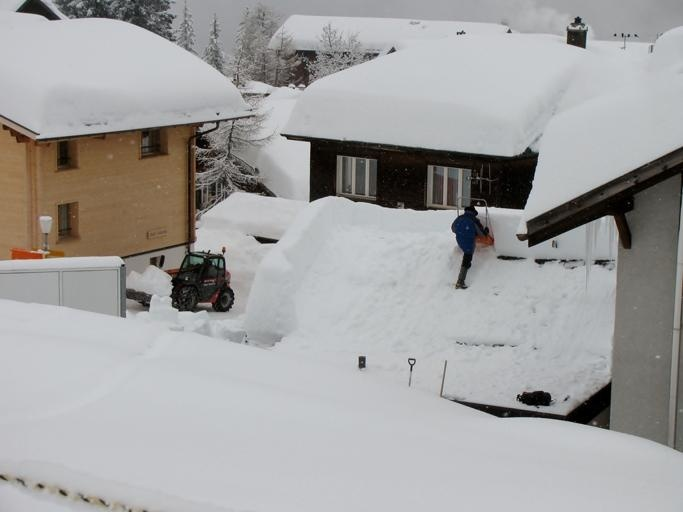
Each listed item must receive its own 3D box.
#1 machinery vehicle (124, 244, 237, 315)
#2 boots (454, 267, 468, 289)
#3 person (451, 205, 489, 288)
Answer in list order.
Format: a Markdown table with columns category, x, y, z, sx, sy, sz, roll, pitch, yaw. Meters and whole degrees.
| category | x | y | z | sx | sy | sz | roll | pitch | yaw |
| --- | --- | --- | --- | --- | --- | --- | --- | --- | --- |
| machinery vehicle | -4.312 | 0.620 | 26.323 | 1.417 | 1.778 | 2.616 | 7 | 4 | 42 |
| boots | 2.351 | 0.423 | 18.998 | 0.234 | 0.450 | 0.214 | 3 | 5 | -15 |
| person | 2.490 | -0.165 | 19.161 | 0.552 | 1.596 | 0.692 | 7 | 6 | 35 |
